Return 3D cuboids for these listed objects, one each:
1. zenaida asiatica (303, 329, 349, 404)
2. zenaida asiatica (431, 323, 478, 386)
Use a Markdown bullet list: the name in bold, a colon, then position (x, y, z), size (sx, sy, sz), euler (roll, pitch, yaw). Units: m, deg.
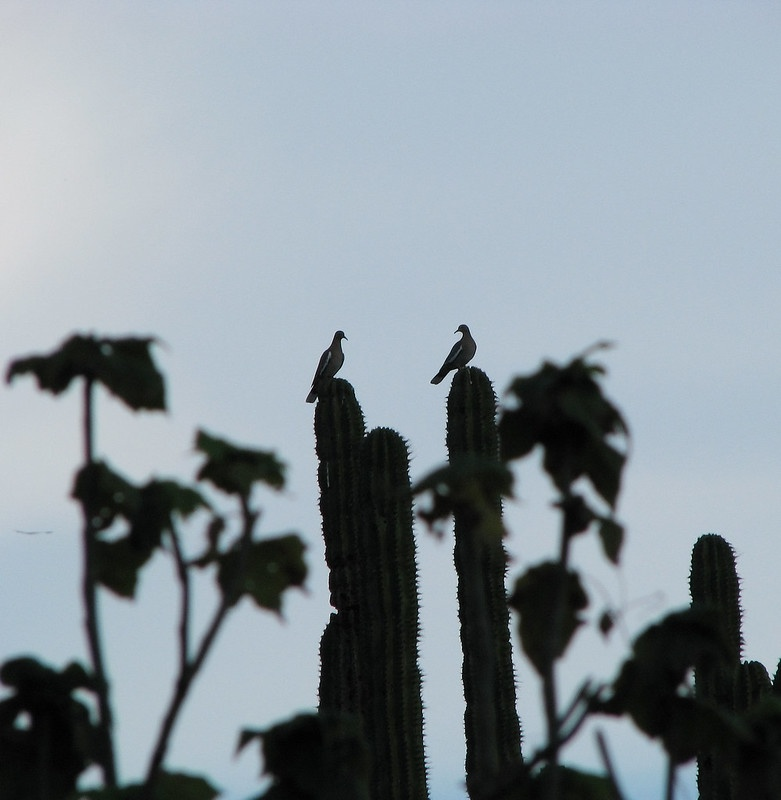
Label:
- **zenaida asiatica**: position (-0.239, -0.147, 10.346), size (0.190, 0.276, 0.112), euler (-14, -26, 8)
- **zenaida asiatica**: position (0.257, -0.207, 10.284), size (0.185, 0.239, 0.086), euler (-5, -4, -5)
